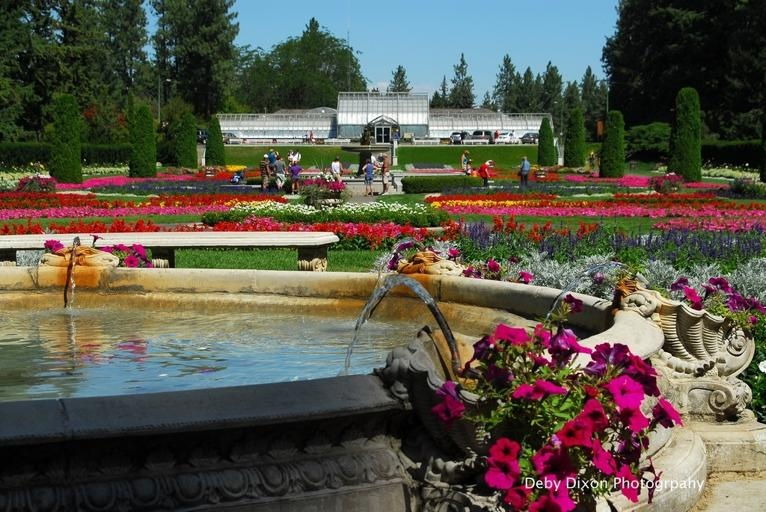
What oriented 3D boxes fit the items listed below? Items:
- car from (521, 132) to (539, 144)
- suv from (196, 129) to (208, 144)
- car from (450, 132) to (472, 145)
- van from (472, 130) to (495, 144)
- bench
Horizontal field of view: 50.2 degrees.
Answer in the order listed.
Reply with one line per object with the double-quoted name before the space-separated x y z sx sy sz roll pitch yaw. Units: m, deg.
"car" 12.320 -10.005 69.395 1.184 0.923 2.088 0 11 -1
"suv" -14.641 -9.775 66.411 0.712 1.154 4.169 -2 8 -13
"car" 6.447 -10.190 70.038 1.278 1.062 1.973 5 15 17
"van" 8.803 -10.380 71.592 2.267 1.162 1.363 -1 10 3
"bench" -2.114 -0.027 8.688 3.262 0.452 0.835 -1 8 -7
